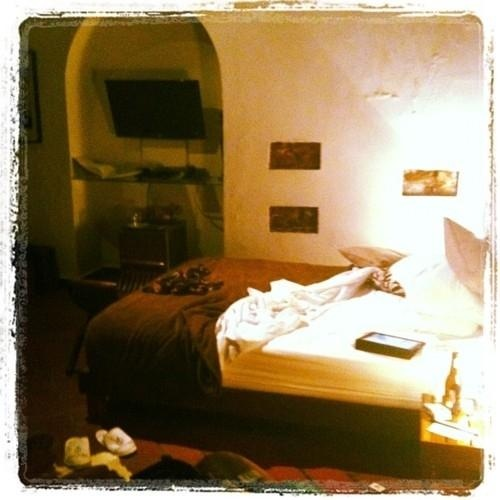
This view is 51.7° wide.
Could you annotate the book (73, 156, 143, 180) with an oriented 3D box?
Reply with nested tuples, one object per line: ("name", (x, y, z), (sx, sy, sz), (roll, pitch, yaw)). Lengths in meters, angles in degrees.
("book", (-0.910, -0.510, 3.302), (0.221, 0.098, 0.258), (5, 14, 13))

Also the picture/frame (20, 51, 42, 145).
("picture/frame", (-1.349, -0.949, 3.191), (0.099, 0.561, 0.285), (-1, 8, -21))

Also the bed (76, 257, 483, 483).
("bed", (0.120, 0.468, 1.968), (1.450, 0.570, 0.534), (5, 8, 20))
